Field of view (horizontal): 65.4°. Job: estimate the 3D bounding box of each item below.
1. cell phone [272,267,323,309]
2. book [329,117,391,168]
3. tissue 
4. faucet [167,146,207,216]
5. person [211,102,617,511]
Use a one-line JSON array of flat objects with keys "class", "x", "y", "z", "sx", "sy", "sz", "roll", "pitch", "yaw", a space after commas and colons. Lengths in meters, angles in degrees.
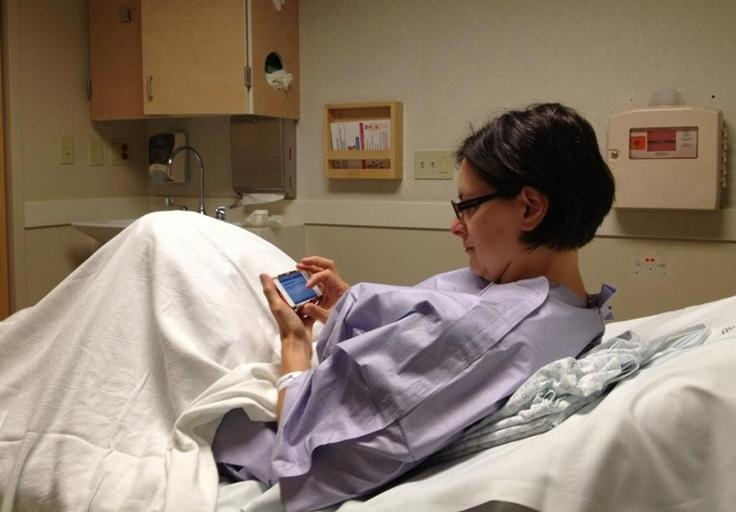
[{"class": "cell phone", "x": -0.228, "y": 0.105, "z": 1.804, "sx": 0.117, "sy": 0.120, "sz": 0.033, "roll": -14, "pitch": -23, "yaw": -47}, {"class": "book", "x": -0.083, "y": -0.606, "z": 3.068, "sx": 0.350, "sy": 0.282, "sz": 0.086, "roll": 6, "pitch": 7, "yaw": 24}, {"class": "tissue ", "x": -0.605, "y": -0.582, "z": 3.413, "sx": 0.430, "sy": 0.684, "sz": 0.205, "roll": 3, "pitch": 9, "yaw": 20}, {"class": "faucet", "x": -1.099, "y": -0.471, "z": 3.478, "sx": 0.224, "sy": 0.413, "sz": 0.394, "roll": -1, "pitch": 8, "yaw": -19}, {"class": "person", "x": 0.127, "y": 0.084, "z": 1.901, "sx": 1.090, "sy": 1.281, "sz": 0.847, "roll": 14, "pitch": 7, "yaw": 27}]
